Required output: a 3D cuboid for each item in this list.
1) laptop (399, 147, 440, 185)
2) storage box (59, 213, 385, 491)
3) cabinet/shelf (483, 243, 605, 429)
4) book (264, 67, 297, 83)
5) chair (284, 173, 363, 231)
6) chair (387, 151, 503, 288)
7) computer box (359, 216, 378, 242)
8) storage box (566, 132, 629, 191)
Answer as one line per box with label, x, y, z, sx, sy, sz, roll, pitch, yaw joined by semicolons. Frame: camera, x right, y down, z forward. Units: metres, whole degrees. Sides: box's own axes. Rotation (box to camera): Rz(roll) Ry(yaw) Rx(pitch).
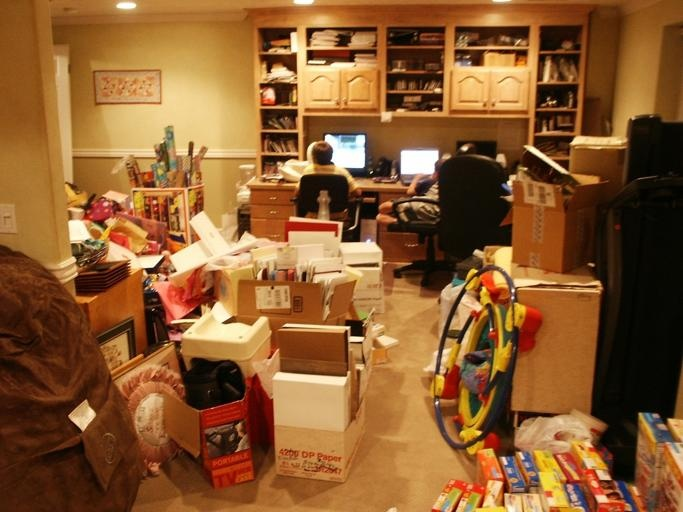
laptop;0.848;-1.016;6.045;0.494;0.366;0.377;-1;10;1
storage box;-0.730;0.153;3.451;1.946;0.901;1.368;2;10;6
cabinet/shelf;1.056;0.432;2.802;0.430;0.662;0.345;3;14;14
book;-0.673;-1.960;5.967;0.366;0.185;0.151;0;14;0
chair;-0.153;-0.549;5.054;0.518;0.633;0.513;1;30;4
chair;1.083;-0.400;5.084;0.996;1.465;1.196;9;13;44
computer box;0.274;-0.286;5.744;0.228;0.429;0.229;1;10;3
storage box;1.407;-0.560;3.095;0.343;0.352;0.298;7;15;26
